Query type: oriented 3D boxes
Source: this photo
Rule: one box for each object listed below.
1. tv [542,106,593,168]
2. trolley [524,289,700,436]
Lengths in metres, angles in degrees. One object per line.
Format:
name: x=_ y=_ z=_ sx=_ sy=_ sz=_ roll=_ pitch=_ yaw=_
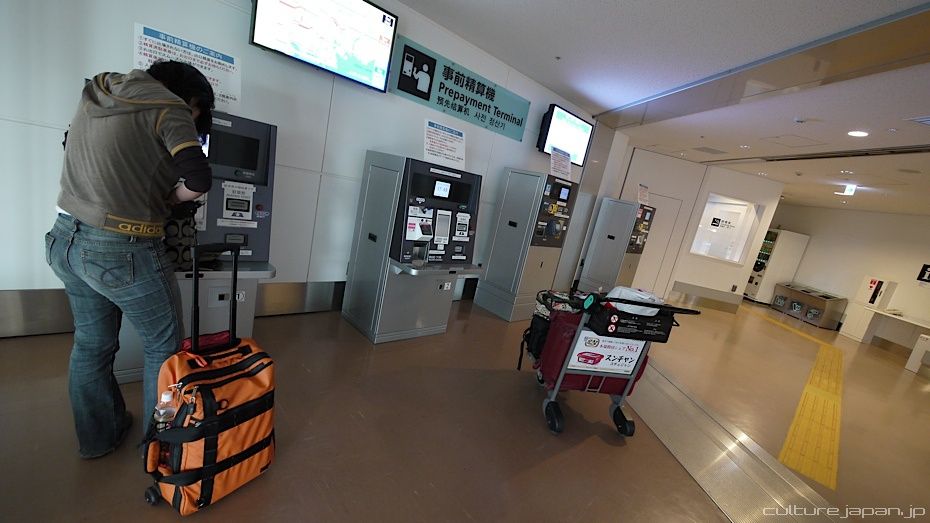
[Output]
tv: x=1.538 y=-2.012 z=7.767 sx=1.273 sy=0.773 sz=0.162 roll=10 pitch=11 yaw=-41
trolley: x=1.482 y=1.056 z=5.756 sx=1.304 sy=1.485 sz=1.893 roll=12 pitch=4 yaw=-12
